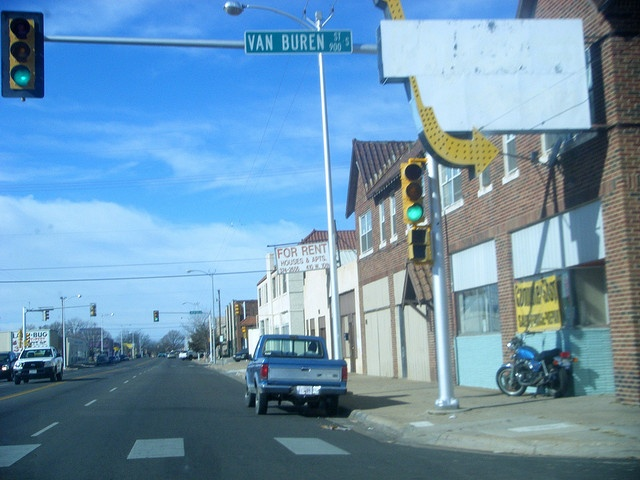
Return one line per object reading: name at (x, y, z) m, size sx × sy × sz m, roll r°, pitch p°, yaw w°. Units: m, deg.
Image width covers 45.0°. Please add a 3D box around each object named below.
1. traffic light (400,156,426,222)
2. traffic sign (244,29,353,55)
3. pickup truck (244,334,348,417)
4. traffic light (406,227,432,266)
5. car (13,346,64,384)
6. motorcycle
traffic light at (2.277, -1.248, 19.146) m, size 0.481 × 1.696 × 0.408 m, roll 2°, pitch -3°, yaw -5°
traffic sign at (-0.517, -4.816, 18.661) m, size 2.611 × 0.548 × 0.352 m, roll -1°, pitch -11°, yaw -11°
pickup truck at (-0.831, 3.914, 22.703) m, size 2.307 × 2.436 × 5.178 m, roll 3°, pitch -9°, yaw -10°
traffic light at (2.488, 0.102, 19.026) m, size 0.645 × 0.914 × 0.499 m, roll -2°, pitch -11°, yaw -5°
car at (-15.377, 6.816, 42.607) m, size 1.474 × 1.504 × 3.167 m, roll -1°, pitch -15°, yaw -8°
motorcycle at (5.775, 3.381, 20.509) m, size 0.715 × 1.660 × 2.446 m, roll 3°, pitch -14°, yaw -29°
